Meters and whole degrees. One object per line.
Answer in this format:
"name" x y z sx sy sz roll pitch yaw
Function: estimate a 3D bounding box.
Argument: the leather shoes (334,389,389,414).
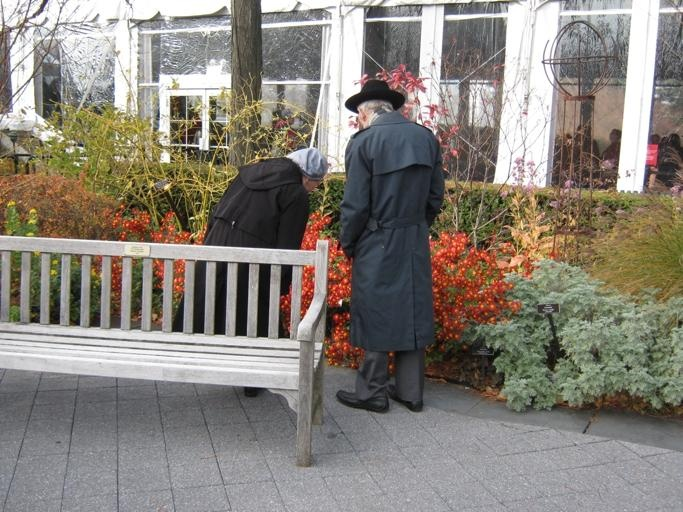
"leather shoes" 0.164 1.099 5.245 0.402 0.189 0.148 12 13 22

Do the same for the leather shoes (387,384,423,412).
"leather shoes" 0.490 1.111 5.281 0.116 0.150 0.348 -11 25 -35

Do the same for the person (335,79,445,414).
"person" 0.362 0.044 5.156 0.755 2.219 0.359 2 7 0

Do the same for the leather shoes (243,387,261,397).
"leather shoes" -0.692 1.053 5.315 0.117 0.099 0.125 2 -1 9
